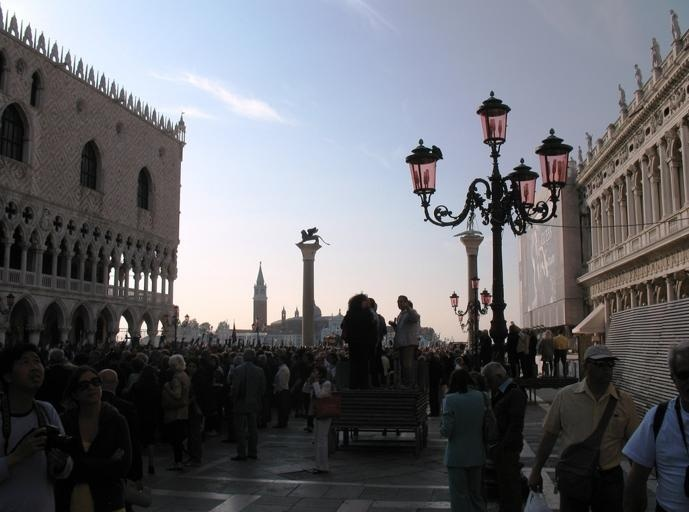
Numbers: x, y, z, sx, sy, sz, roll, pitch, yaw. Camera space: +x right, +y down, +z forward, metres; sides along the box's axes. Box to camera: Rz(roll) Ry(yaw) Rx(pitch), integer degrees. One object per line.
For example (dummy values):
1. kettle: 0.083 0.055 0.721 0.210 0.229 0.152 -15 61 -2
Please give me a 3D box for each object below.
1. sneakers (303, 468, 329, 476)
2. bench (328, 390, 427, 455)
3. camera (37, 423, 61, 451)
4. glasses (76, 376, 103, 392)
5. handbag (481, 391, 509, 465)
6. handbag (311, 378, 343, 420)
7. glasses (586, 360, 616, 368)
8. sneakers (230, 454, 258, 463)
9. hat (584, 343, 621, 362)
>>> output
1. sneakers: -0.472 3.372 11.899 0.417 0.193 0.148 -3 -4 14
2. bench: 0.764 2.817 13.777 1.297 0.868 1.579 -1 -9 6
3. camera: -2.394 1.449 6.099 0.182 0.211 0.159 -16 32 -41
4. glasses: -2.319 1.149 6.793 0.202 0.124 0.099 5 -15 -28
5. handbag: 1.718 2.092 8.914 0.226 0.673 0.458 1 5 -1
6. handbag: -0.276 2.333 12.168 0.559 0.616 0.409 -7 -13 14
7. glasses: 2.382 1.020 7.061 0.108 0.057 0.168 3 -14 -11
8. sneakers: -1.725 3.436 12.920 0.428 0.201 0.165 5 -12 -5
9. hat: 2.398 0.908 7.068 0.282 0.156 0.199 -3 -13 3
